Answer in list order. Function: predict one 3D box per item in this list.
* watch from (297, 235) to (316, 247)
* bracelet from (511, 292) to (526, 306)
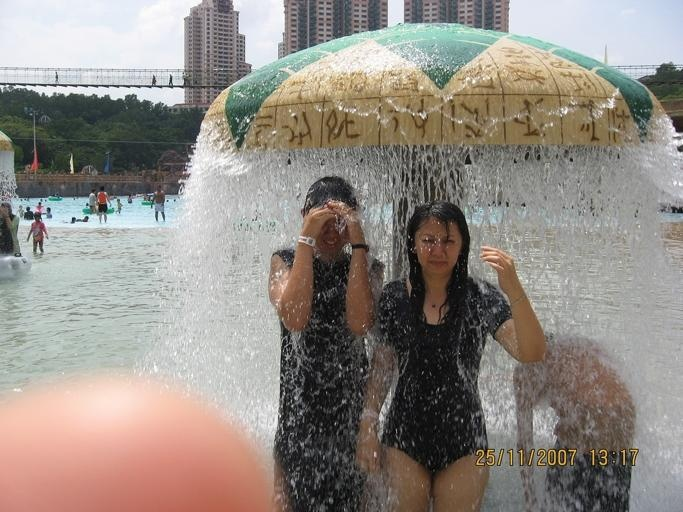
[{"bbox_3d":[-0.199,-0.079,4.362,0.085,0.064,0.084,25,-13,-41],"label":"watch"},{"bbox_3d":[0.964,0.242,4.105,0.055,0.052,0.062,-15,6,20],"label":"bracelet"}]
